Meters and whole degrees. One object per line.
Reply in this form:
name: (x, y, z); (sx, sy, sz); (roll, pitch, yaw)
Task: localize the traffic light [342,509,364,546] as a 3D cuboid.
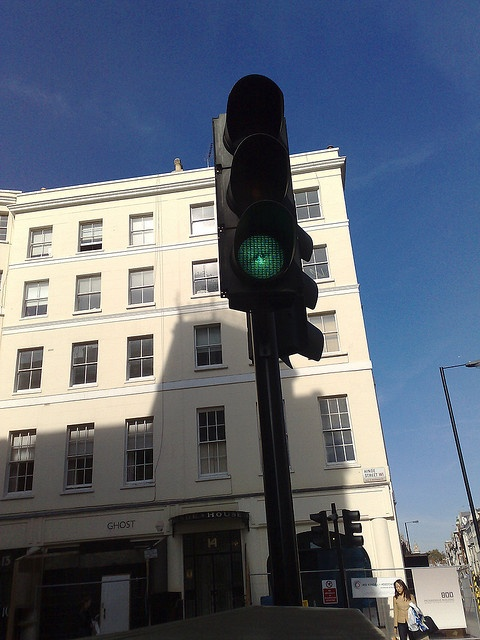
traffic light: (2.563, 4.726, 12.036); (0.378, 0.773, 1.057); (-9, -27, 8)

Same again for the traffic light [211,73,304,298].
traffic light: (0.056, -0.690, 2.673); (0.423, 1.309, 0.383); (-8, -23, 8)

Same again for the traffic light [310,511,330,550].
traffic light: (1.807, 4.714, 11.900); (0.401, 0.864, 1.842); (-7, -28, 6)
